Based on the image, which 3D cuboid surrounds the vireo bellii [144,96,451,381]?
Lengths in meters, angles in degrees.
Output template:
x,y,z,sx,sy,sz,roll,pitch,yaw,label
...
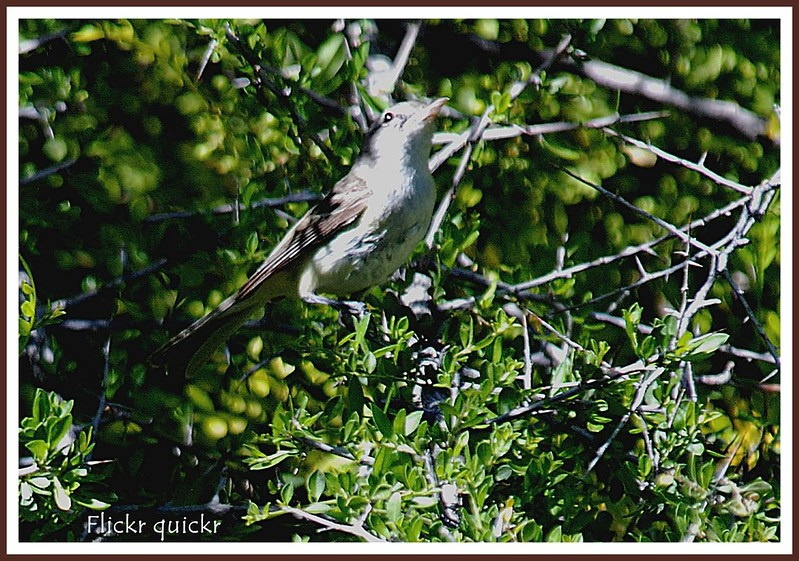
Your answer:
x,y,z,sx,sy,sz,roll,pitch,yaw,label
-0.298,-0.140,3.608,0.837,1.034,0.168,5,-8,12,vireo bellii
